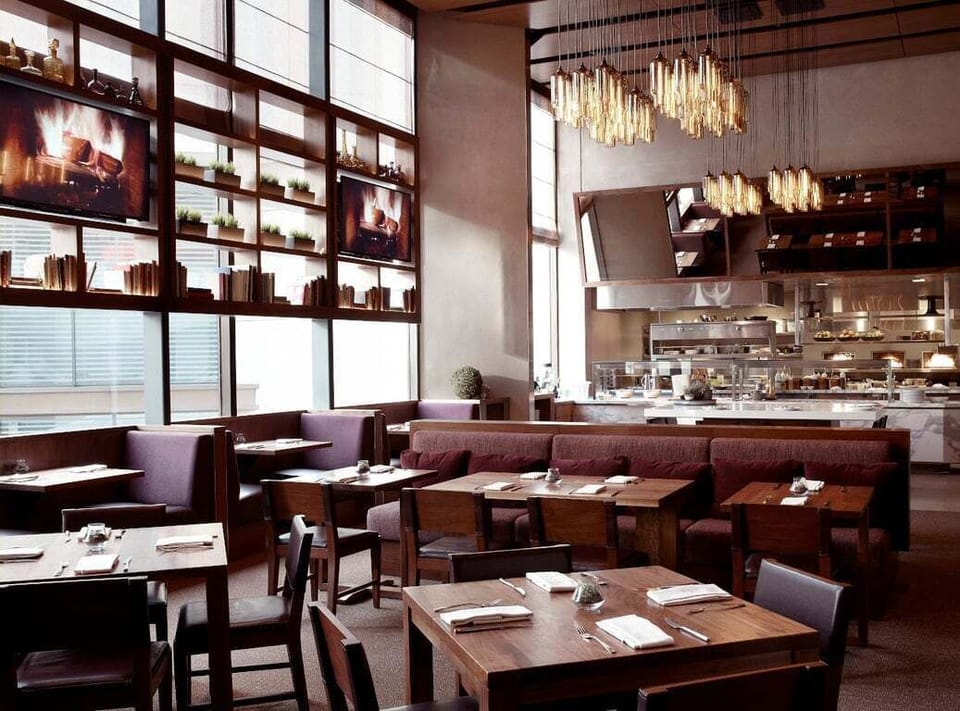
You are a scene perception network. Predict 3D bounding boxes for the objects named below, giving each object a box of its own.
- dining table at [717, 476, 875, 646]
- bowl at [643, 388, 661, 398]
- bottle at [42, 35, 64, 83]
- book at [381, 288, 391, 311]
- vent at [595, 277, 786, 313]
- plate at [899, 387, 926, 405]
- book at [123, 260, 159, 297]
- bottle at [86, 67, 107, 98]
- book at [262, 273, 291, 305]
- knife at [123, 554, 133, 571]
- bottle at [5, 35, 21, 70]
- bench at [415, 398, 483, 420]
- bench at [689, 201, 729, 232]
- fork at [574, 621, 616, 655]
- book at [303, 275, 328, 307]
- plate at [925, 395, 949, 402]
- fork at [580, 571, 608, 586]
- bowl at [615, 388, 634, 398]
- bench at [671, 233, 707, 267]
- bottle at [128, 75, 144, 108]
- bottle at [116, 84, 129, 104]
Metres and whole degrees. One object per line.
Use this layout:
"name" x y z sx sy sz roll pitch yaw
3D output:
"dining table" 2.003 1.273 4.782 0.909 0.963 0.947 -2 -3 27
"bowl" 2.330 0.511 10.390 0.229 0.105 0.536 -3 0 10
"bottle" -3.239 -2.244 5.900 0.108 0.382 0.221 -3 1 0
"book" -1.134 -0.674 9.220 0.138 0.270 0.266 0 0 4
"vent" 3.004 -0.903 11.459 2.482 0.420 0.315 -3 0 16
"plate" 5.685 0.531 10.132 0.226 0.153 0.236 0 -5 -7
"book" -2.802 -0.623 6.412 0.223 0.305 0.302 -3 -4 21
"bottle" -3.110 -2.201 6.255 0.122 0.258 0.398 -3 0 -25
"book" -2.041 -0.643 7.743 0.232 0.350 0.336 0 2 1
"knife" -1.589 0.936 3.484 0.025 0.024 0.096 0 6 -7
"bottle" -3.409 -2.183 5.634 0.094 0.270 0.112 -3 1 -21
"bench" -0.407 0.650 9.334 0.805 0.223 0.304 -3 0 33
"bench" 3.310 -1.952 11.201 0.500 0.528 0.384 2 10 22
"fork" 0.402 0.967 2.694 0.034 0.040 0.264 3 1 -11
"book" -1.743 -0.660 8.287 0.239 0.355 0.349 -1 -4 5
"plate" 6.007 0.561 10.137 0.253 0.084 0.380 -3 0 28
"fork" 0.495 0.954 3.364 0.032 0.029 0.238 -2 -2 -14
"bowl" 2.056 0.537 10.916 0.239 0.107 0.683 -3 0 11
"bench" 3.080 -1.463 11.426 0.545 0.599 0.429 0 4 24
"bottle" -2.882 -2.212 6.475 0.107 0.277 0.216 -3 0 -23
"bottle" -2.969 -2.168 6.403 0.100 0.158 0.290 -3 0 -22
